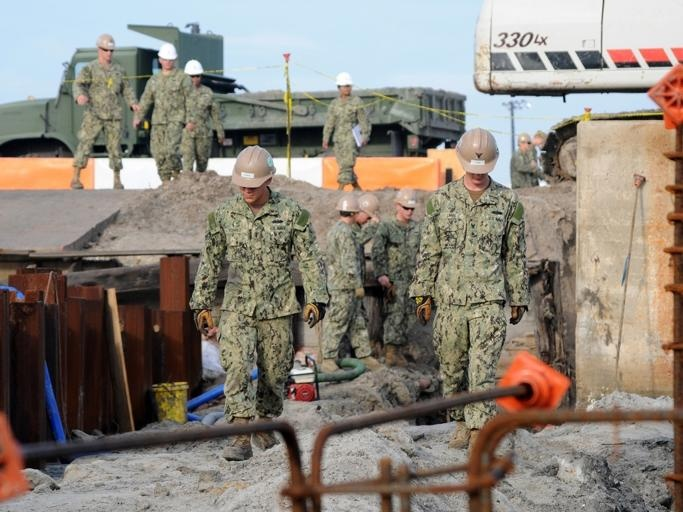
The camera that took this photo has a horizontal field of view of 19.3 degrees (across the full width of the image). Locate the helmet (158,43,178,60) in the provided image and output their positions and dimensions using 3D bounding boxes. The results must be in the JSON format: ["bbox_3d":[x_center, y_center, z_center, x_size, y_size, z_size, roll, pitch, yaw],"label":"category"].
[{"bbox_3d":[-2.464,-2.884,28.468,0.221,0.204,0.239,-2,1,-10],"label":"helmet"}]

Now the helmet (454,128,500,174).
[{"bbox_3d":[1.419,-1.147,21.106,0.460,0.361,0.665,4,22,3],"label":"helmet"}]

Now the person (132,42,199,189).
[{"bbox_3d":[-2.559,-2.018,28.675,0.831,1.673,1.059,-2,1,-15],"label":"person"}]

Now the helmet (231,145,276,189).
[{"bbox_3d":[-0.924,-0.982,20.939,0.445,0.339,0.616,11,27,16],"label":"helmet"}]

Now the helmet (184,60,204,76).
[{"bbox_3d":[-2.175,-2.741,29.469,0.261,0.239,0.396,-3,4,-6],"label":"helmet"}]

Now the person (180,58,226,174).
[{"bbox_3d":[-2.093,-1.923,29.035,0.658,1.868,0.658,1,14,-6],"label":"person"}]

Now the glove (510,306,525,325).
[{"bbox_3d":[1.807,0.607,20.962,0.139,0.209,0.079,16,20,-20],"label":"glove"}]

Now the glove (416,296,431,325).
[{"bbox_3d":[0.869,0.568,21.107,0.152,0.252,0.094,-1,5,22],"label":"glove"}]

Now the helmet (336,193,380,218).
[{"bbox_3d":[0.219,-0.693,25.153,0.313,0.260,0.460,8,-3,37],"label":"helmet"}]

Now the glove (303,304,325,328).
[{"bbox_3d":[-0.319,0.623,20.994,0.178,0.262,0.110,-6,25,-27],"label":"glove"}]

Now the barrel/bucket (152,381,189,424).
[{"bbox_3d":[-1.926,1.655,22.671,0.375,0.465,0.402,-2,-8,0],"label":"barrel/bucket"}]
